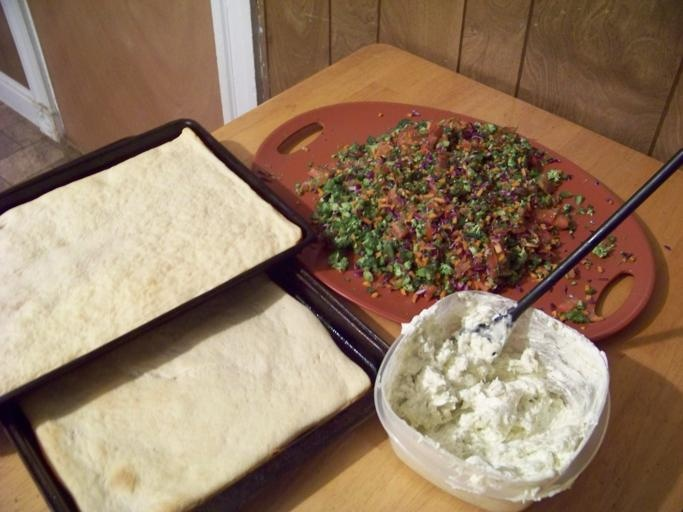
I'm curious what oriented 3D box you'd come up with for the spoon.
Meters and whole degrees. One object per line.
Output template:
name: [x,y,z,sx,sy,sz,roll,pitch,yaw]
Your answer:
spoon: [0.442,0.014,1.201,0.551,0.055,0.100,-51,40,18]
